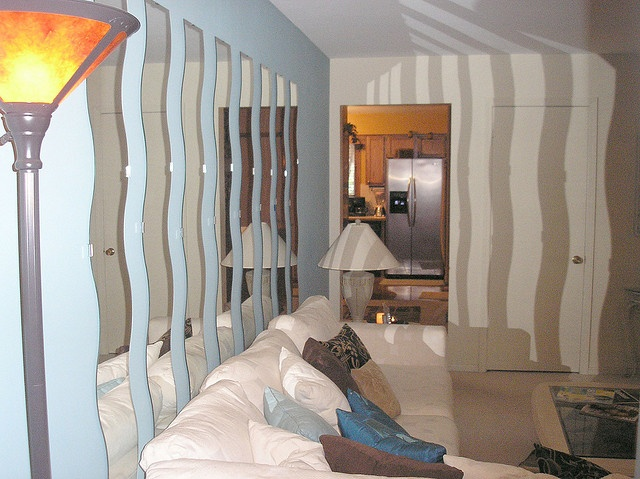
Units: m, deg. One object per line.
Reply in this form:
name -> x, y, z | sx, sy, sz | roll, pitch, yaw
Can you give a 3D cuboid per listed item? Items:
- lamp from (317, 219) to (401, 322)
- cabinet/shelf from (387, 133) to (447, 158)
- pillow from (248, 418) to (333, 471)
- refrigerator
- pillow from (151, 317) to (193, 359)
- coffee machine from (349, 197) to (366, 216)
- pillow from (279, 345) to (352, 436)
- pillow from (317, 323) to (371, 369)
lamp -> 0.300, 0.191, 4.062 | 0.659, 0.904, 0.701 | -4, 5, -24
cabinet/shelf -> 1.688, -1.669, 9.475 | 1.059, 0.419, 0.156 | 0, 5, 15
pillow -> -0.122, 0.756, 1.904 | 0.392, 0.114, 0.156 | 2, 5, 35
refrigerator -> 1.503, -0.344, 8.461 | 0.893, 1.877, 0.363 | 0, 5, 13
pillow -> -0.649, 0.427, 2.309 | 0.136, 0.150, 0.523 | 1, -9, -6
coffee machine -> 0.630, -0.574, 9.256 | 0.530, 0.319, 0.229 | -5, 6, -41
pillow -> -0.044, 0.637, 2.485 | 0.241, 0.369, 0.467 | -20, 17, -17
pillow -> 0.152, 0.637, 3.057 | 0.201, 0.062, 0.206 | 50, 21, 14
